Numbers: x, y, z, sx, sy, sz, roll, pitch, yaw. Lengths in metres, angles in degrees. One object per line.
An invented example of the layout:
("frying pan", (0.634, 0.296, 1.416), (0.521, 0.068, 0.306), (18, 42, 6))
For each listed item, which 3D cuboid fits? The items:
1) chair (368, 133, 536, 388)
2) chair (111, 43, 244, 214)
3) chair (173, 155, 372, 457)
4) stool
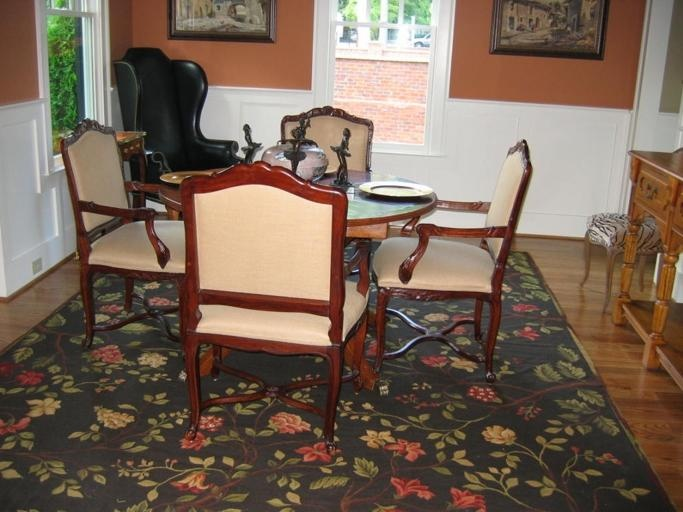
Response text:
("chair", (0.613, 0.003, 3.208), (0.902, 1.166, 0.769), (-2, 20, 6))
("chair", (-1.545, -1.221, 5.213), (1.174, 1.408, 1.167), (23, 26, 27))
("chair", (-0.265, 0.207, 2.602), (0.946, 1.148, 0.744), (5, 6, 13))
("stool", (2.200, -0.016, 4.180), (0.585, 0.533, 0.575), (16, 28, 41))
